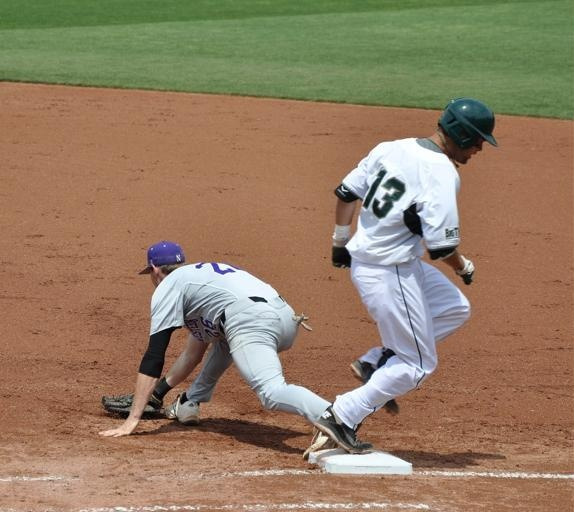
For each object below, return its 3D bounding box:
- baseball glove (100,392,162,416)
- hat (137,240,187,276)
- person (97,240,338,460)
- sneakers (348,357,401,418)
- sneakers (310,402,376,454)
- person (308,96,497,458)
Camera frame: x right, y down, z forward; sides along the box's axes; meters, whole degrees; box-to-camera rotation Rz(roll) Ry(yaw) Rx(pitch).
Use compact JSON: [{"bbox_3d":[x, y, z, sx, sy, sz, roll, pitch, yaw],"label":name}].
[{"bbox_3d":[-1.394,1.327,9.536,0.566,0.209,0.200,10,7,-20],"label":"baseball glove"},{"bbox_3d":[-1.098,0.018,9.227,0.435,0.182,0.290,-10,-14,30],"label":"hat"},{"bbox_3d":[-0.591,0.788,9.061,1.530,1.625,1.067,9,15,-5],"label":"person"},{"bbox_3d":[0.665,1.068,8.781,0.282,0.220,0.658,45,-8,-30],"label":"sneakers"},{"bbox_3d":[0.465,1.404,8.685,0.590,0.273,0.189,37,-5,-23],"label":"sneakers"},{"bbox_3d":[0.896,0.162,8.699,1.175,2.969,0.919,10,15,-6],"label":"person"}]
